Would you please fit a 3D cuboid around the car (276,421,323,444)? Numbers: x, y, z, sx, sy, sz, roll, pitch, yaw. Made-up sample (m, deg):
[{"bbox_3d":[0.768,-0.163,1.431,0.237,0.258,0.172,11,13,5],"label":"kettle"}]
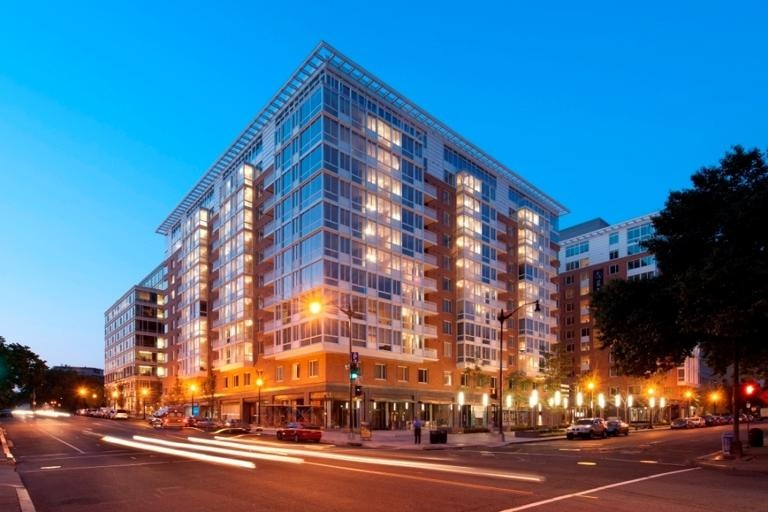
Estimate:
[{"bbox_3d":[-7.610,16.053,66.069,4.178,2.198,1.710,-11,-24,23],"label":"car"}]
